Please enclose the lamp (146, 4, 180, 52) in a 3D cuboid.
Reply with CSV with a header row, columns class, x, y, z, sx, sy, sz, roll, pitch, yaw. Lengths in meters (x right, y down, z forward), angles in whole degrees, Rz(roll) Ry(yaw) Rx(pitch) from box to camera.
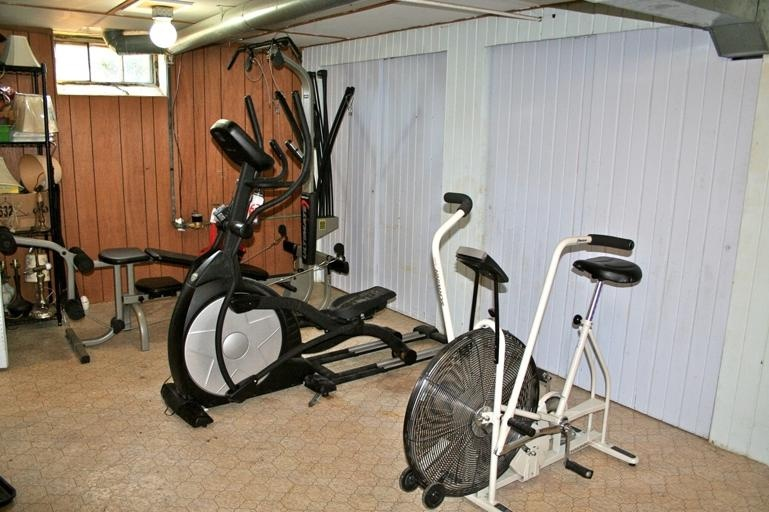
class,x,y,z,sx,sy,sz,roll,pitch,yaw
lamp,-2.027,-2.107,5.383,0.214,0.337,0.279,-5,17,-17
